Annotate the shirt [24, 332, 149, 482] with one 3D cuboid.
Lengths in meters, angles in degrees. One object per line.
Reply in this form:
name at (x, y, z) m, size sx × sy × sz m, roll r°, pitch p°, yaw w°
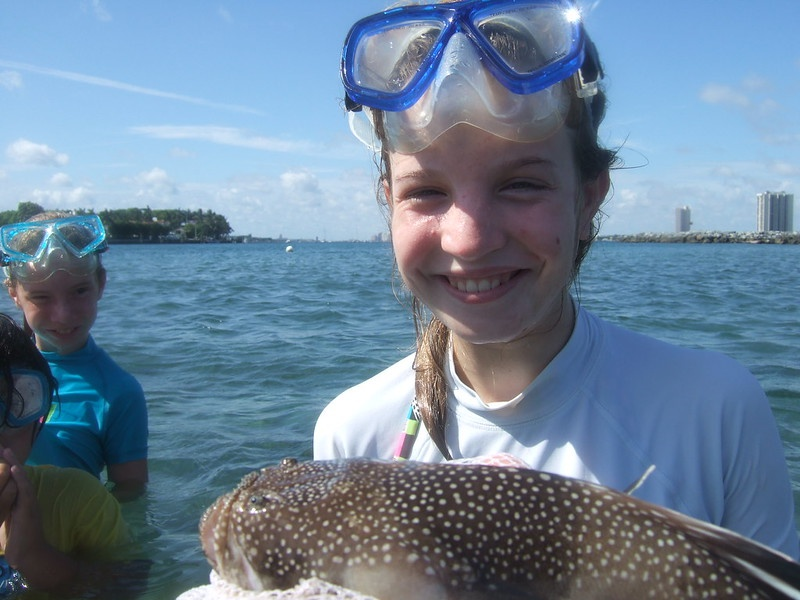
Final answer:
shirt at (-2.258, 0.730, 4.760) m, size 0.954 × 1.037 × 0.436 m, roll 17°, pitch 16°, yaw 5°
